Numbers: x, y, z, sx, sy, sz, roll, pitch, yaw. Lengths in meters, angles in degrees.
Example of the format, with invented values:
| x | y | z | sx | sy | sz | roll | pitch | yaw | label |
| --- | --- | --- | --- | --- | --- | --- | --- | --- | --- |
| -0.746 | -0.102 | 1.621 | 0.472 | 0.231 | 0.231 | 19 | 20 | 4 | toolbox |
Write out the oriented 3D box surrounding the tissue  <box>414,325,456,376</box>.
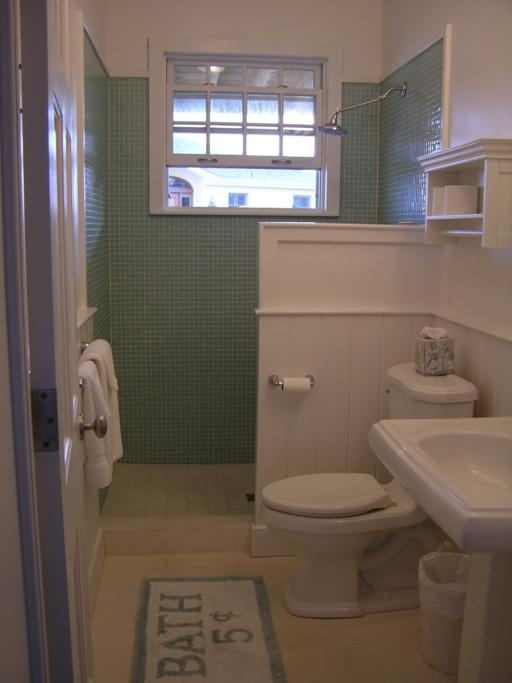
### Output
| x | y | z | sx | sy | sz | roll | pitch | yaw | label |
| --- | --- | --- | --- | --- | --- | --- | --- | --- | --- |
| 0.691 | 0.031 | 2.217 | 0.124 | 0.287 | 0.166 | -1 | 7 | -3 | tissue  |

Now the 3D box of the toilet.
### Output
| x | y | z | sx | sy | sz | roll | pitch | yaw | label |
| --- | --- | --- | --- | --- | --- | --- | --- | --- | --- |
| 0.371 | 0.543 | 2.535 | 0.804 | 1.381 | 0.620 | 1 | 5 | -5 | toilet |

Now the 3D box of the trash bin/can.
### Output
| x | y | z | sx | sy | sz | roll | pitch | yaw | label |
| --- | --- | --- | --- | --- | --- | --- | --- | --- | --- |
| 0.586 | 0.844 | 1.846 | 0.213 | 0.447 | 0.231 | -4 | 4 | 22 | trash bin/can |

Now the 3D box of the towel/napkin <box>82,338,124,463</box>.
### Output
| x | y | z | sx | sy | sz | roll | pitch | yaw | label |
| --- | --- | --- | --- | --- | --- | --- | --- | --- | --- |
| -0.551 | 0.213 | 2.065 | 0.087 | 0.430 | 0.336 | -3 | -1 | -5 | towel/napkin |
